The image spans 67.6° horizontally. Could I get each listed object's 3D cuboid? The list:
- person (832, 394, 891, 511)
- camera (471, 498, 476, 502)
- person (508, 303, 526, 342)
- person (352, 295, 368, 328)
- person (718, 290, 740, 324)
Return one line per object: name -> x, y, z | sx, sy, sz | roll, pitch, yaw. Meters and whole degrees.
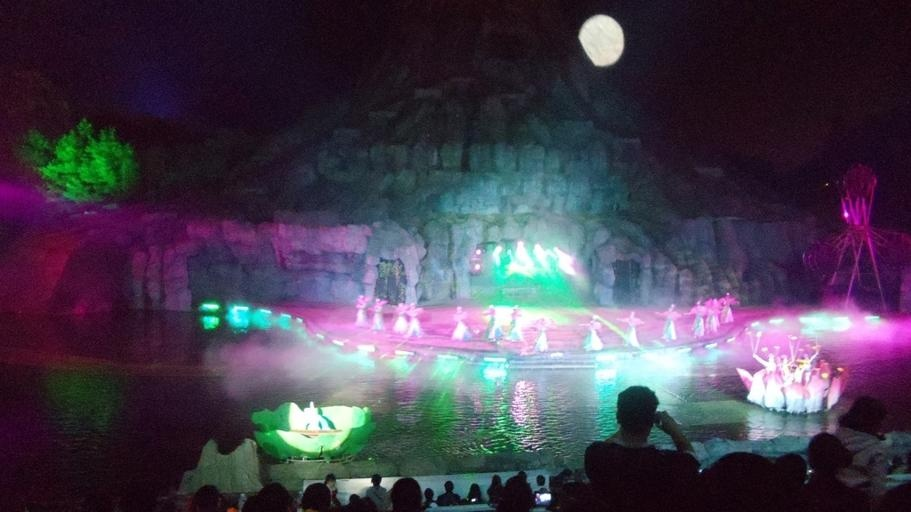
person -> 9.712, 4.663, 16.147 | 1.206, 2.535, 0.786 | 0, -14, 6
camera -> 0.479, 6.213, 16.985 | 0.157, 0.055, 0.110 | 0, -13, 7
person -> 2.470, 2.811, 27.853 | 0.620, 1.494, 1.150 | 1, -14, 5
person -> -4.190, 2.507, 30.830 | 0.527, 1.529, 1.289 | 4, -14, -8
person -> 13.204, 2.509, 32.801 | 1.363, 1.381, 0.563 | 4, 17, 25
